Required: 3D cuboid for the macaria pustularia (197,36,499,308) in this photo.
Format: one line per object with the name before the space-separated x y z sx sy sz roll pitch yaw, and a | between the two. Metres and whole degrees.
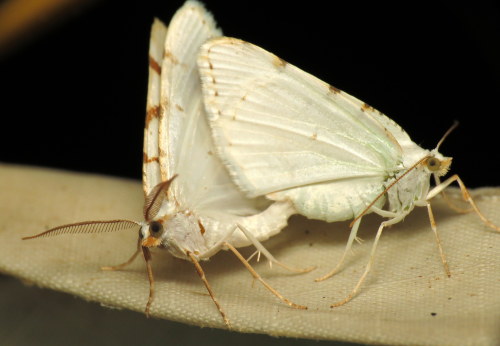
macaria pustularia | 0.254 -0.236 2.997 1.617 1.006 1.133 -2 17 -16
